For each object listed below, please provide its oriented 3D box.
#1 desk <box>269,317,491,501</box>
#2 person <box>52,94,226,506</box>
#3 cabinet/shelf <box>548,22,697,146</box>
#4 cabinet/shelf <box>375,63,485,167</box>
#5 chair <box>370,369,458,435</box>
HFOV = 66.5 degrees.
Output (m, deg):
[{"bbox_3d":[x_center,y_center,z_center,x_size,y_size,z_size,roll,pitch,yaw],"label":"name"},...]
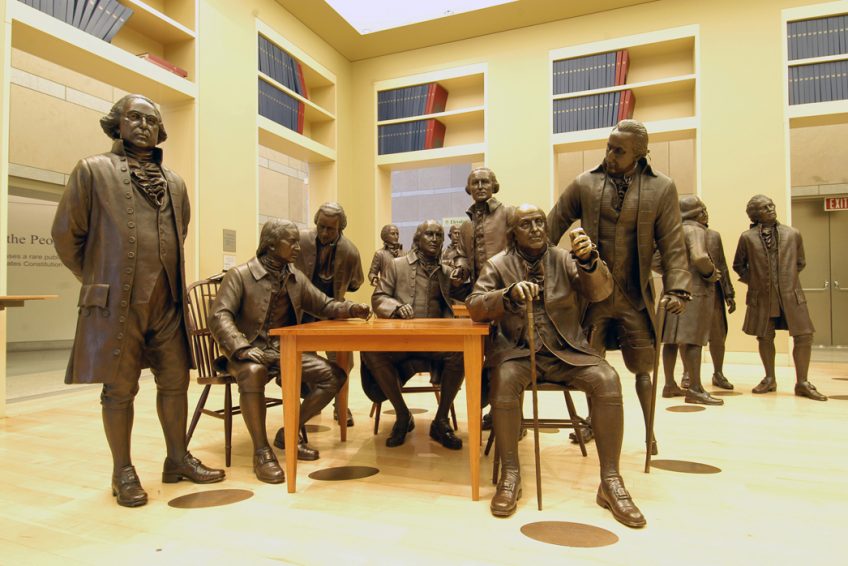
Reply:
[{"bbox_3d":[-0.214,0.833,5.154,1.563,1.066,1.547,-1,-1,13],"label":"desk"},{"bbox_3d":[-2.008,0.100,4.422,0.863,2.705,0.648,-6,12,-30],"label":"person"},{"bbox_3d":[2.759,-2.690,8.774,2.579,1.782,0.766,-2,-8,14],"label":"cabinet/shelf"},{"bbox_3d":[0.147,-2.599,10.056,1.687,1.159,0.514,-2,-9,16],"label":"cabinet/shelf"},{"bbox_3d":[-0.137,1.023,5.560,0.647,0.508,0.529,-2,-15,1],"label":"chair"}]
